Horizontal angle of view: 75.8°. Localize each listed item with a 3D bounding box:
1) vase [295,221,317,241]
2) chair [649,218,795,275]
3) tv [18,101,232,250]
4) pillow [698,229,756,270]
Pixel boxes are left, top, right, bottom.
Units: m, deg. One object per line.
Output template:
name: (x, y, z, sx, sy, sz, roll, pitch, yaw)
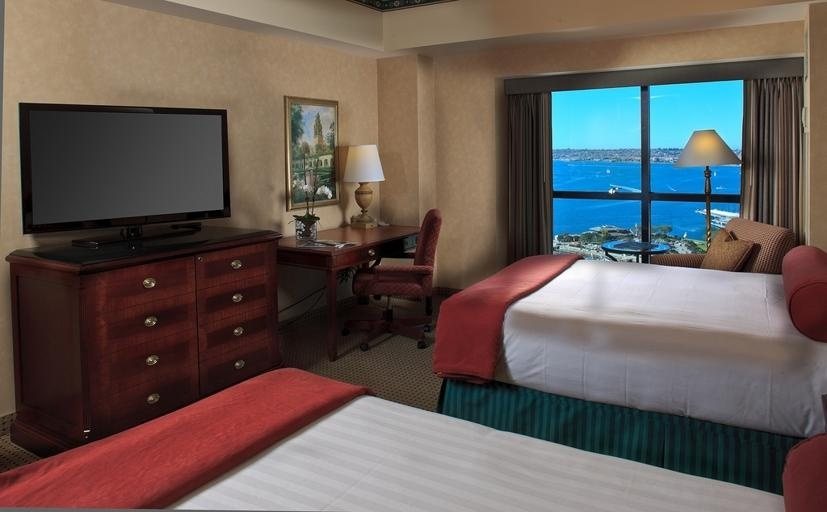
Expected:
vase: (-1.142, -0.277, 5.574, 0.224, 0.136, 0.203, 0, 0, -7)
chair: (3.048, 0.066, 5.156, 0.993, 0.710, 0.899, -2, -24, 27)
tv: (-2.392, -0.646, 4.260, 0.385, 0.852, 1.477, 2, 6, 43)
pillow: (2.870, -0.026, 4.850, 0.121, 0.347, 0.373, 24, 13, -12)
